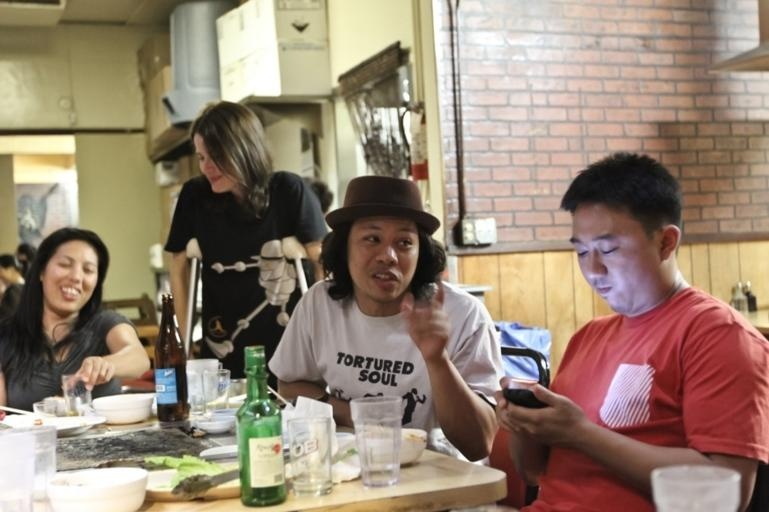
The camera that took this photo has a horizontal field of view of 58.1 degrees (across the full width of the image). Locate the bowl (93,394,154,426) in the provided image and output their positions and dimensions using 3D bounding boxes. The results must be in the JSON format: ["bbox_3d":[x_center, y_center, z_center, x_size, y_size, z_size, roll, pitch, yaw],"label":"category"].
[{"bbox_3d":[-0.946,0.564,2.599,0.136,0.064,0.138,-3,-11,-1],"label":"bowl"}]

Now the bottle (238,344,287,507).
[{"bbox_3d":[-0.326,0.445,1.842,0.120,0.275,0.128,-4,-2,0],"label":"bottle"}]

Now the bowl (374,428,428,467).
[{"bbox_3d":[0.042,0.535,1.936,0.128,0.077,0.135,0,-9,0],"label":"bowl"}]

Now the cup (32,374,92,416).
[{"bbox_3d":[-1.177,0.510,2.557,0.166,0.120,0.162,-1,-10,0],"label":"cup"}]
